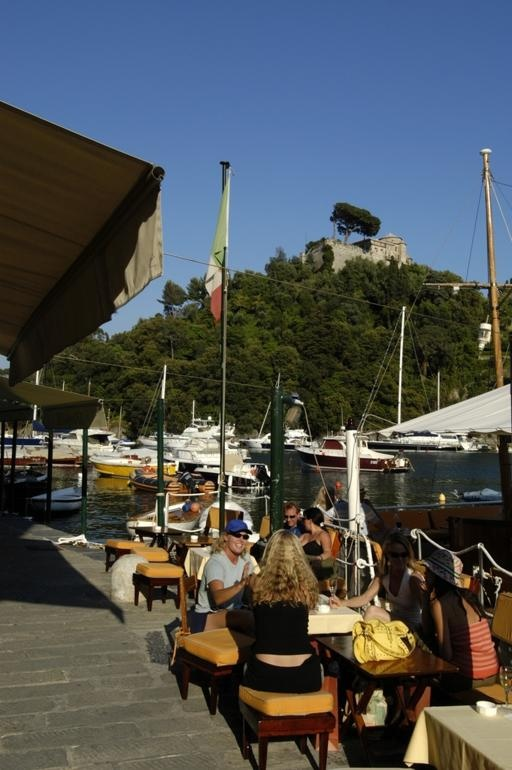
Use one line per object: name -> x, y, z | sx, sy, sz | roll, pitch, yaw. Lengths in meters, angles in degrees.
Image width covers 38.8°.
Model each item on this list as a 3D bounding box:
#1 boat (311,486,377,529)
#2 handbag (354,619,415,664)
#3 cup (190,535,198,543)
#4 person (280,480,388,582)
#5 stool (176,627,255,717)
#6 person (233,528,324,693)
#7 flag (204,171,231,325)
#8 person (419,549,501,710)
boat -> 1.182, 1.711, 10.286 | 0.943, 0.690, 0.570 | 11, -14, -12
handbag -> 0.708, 1.370, 3.916 | 0.397, 0.196, 0.187 | 3, -6, -15
cup -> -0.788, 1.938, 9.151 | 0.060, 0.071, 0.071 | 3, -9, -21
person -> 0.786, 1.620, 7.958 | 0.661, 0.769, 1.180 | 1, -2, -16
stool -> -0.225, 1.764, 4.410 | 0.409, 0.405, 0.597 | 4, -5, -24
person -> 0.141, 1.139, 3.734 | 0.394, 0.742, 0.430 | 1, -5, 4
flag -> -0.564, -1.997, 10.384 | 0.272, 2.112, 1.115 | 2, -5, -6
person -> 1.163, 1.502, 4.256 | 0.347, 1.042, 0.569 | -6, 9, -18
